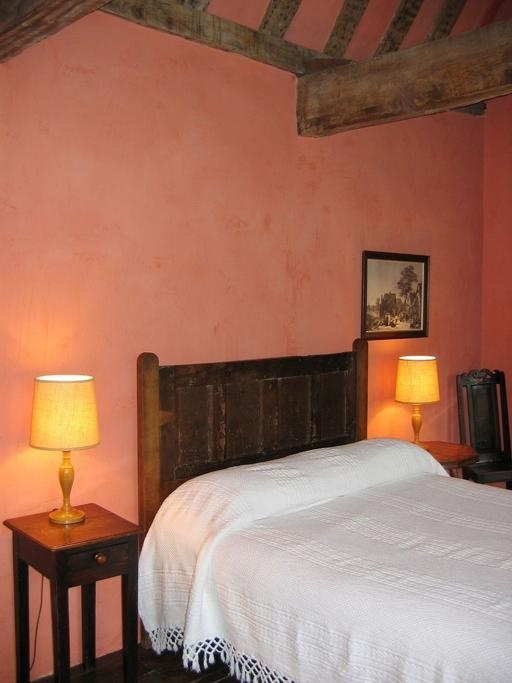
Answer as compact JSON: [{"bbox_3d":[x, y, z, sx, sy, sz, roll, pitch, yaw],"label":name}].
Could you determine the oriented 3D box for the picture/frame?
[{"bbox_3d":[0.881,-0.279,3.828,0.028,0.562,0.726,-4,7,-22],"label":"picture/frame"}]

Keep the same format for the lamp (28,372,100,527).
[{"bbox_3d":[-0.699,0.385,2.199,0.225,0.520,0.310,0,5,-20],"label":"lamp"}]
